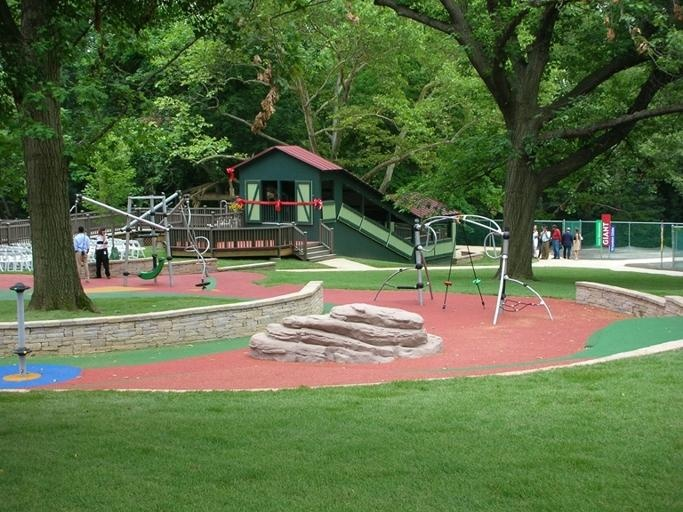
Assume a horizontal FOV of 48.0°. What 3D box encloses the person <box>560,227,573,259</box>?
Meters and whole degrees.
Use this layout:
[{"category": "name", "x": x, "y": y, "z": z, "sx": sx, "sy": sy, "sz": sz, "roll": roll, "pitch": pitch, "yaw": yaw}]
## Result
[{"category": "person", "x": 13.095, "y": -0.699, "z": 44.692, "sx": 0.459, "sy": 1.700, "sz": 1.146, "roll": 1, "pitch": 5, "yaw": 13}]
